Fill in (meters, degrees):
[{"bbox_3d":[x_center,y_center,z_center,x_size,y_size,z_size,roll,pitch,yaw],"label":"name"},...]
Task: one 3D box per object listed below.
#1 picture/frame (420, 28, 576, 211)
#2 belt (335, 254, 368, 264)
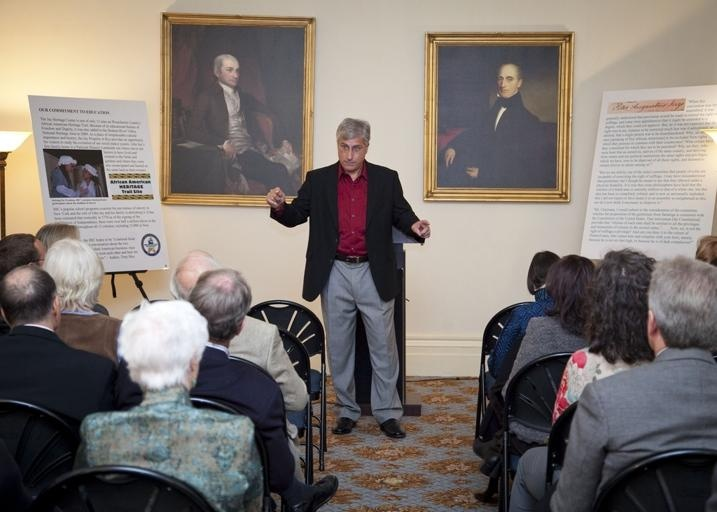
[{"bbox_3d":[1.289,-1.317,5.459,1.386,1.749,0.114,1,0,-4],"label":"picture/frame"},{"bbox_3d":[-0.048,0.022,4.119,0.212,0.049,0.040,1,6,-1],"label":"belt"}]
